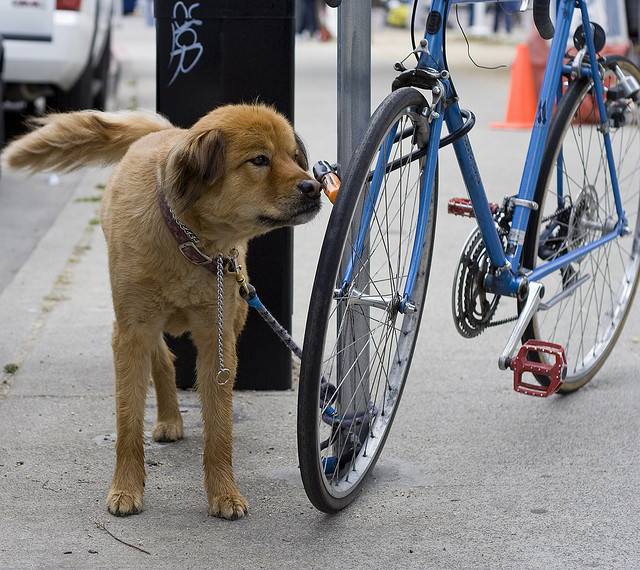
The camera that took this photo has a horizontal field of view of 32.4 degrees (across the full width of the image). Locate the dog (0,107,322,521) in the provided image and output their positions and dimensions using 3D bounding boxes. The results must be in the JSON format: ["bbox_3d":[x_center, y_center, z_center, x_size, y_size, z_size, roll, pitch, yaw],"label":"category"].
[{"bbox_3d":[-0.586,0.020,4.330,0.733,1.491,1.187,-7,19,-29],"label":"dog"}]

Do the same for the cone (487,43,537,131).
[{"bbox_3d":[1.960,-2.147,12.048,0.718,0.903,0.715,-10,9,15],"label":"cone"}]
